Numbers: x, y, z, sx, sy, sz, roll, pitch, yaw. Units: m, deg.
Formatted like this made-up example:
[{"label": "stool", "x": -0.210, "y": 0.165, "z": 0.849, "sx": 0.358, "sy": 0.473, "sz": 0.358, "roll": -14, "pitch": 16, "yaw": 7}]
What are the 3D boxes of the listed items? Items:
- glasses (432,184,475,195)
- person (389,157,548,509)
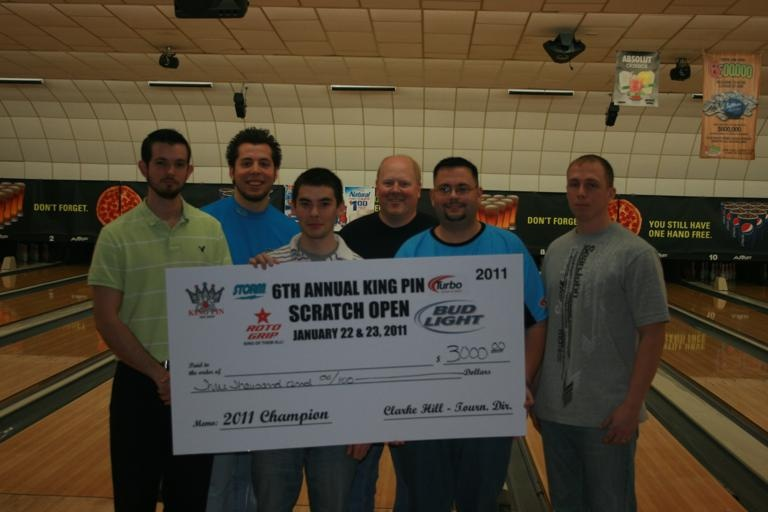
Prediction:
[{"label": "glasses", "x": 0.490, "y": -0.476, "z": 4.175, "sx": 0.264, "sy": 0.067, "sz": 0.042, "roll": 0, "pitch": 11, "yaw": 12}, {"label": "person", "x": 0.605, "y": 0.697, "z": 4.259, "sx": 1.067, "sy": 2.782, "sz": 0.683, "roll": 1, "pitch": 11, "yaw": 15}]
